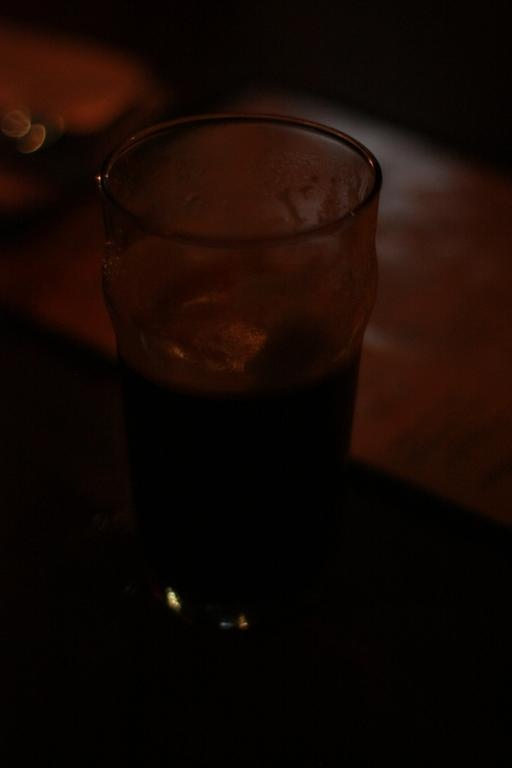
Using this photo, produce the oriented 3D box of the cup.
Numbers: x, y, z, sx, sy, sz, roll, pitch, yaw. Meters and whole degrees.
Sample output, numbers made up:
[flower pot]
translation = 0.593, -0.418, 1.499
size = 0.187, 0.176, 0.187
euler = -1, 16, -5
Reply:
[cup]
translation = -0.006, -0.019, 0.336
size = 0.152, 0.169, 0.144
euler = 0, 32, 0
